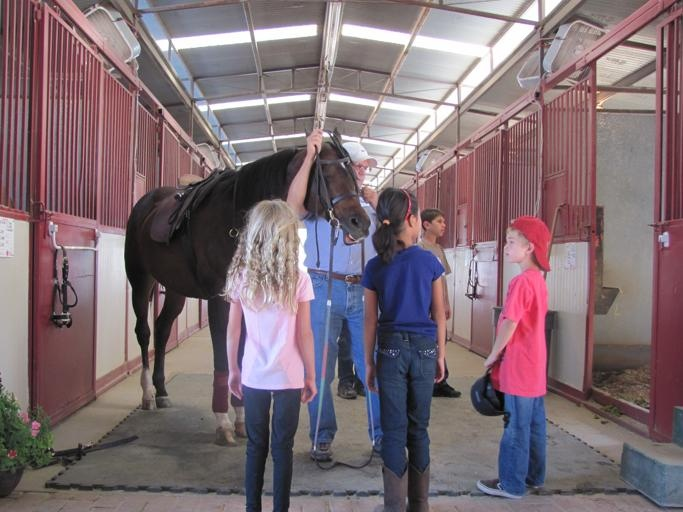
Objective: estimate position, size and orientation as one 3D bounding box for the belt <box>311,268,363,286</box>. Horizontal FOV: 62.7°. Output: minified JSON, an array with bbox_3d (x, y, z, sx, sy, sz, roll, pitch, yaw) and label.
[{"bbox_3d":[-0.016,0.127,3.603,0.310,0.095,0.360,1,-2,-20],"label":"belt"}]

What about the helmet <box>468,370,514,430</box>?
[{"bbox_3d":[0.945,0.871,3.491,0.285,0.308,0.274,8,-21,-19],"label":"helmet"}]

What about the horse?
[{"bbox_3d":[-0.886,0.295,4.041,2.536,1.934,0.644,-1,-1,41],"label":"horse"}]

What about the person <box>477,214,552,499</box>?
[{"bbox_3d":[1.069,0.592,3.415,0.466,1.680,0.244,1,-2,-24],"label":"person"}]

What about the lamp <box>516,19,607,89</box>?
[{"bbox_3d":[2.185,-2.013,5.619,0.802,0.668,0.594,0,-2,21],"label":"lamp"}]

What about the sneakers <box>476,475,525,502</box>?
[{"bbox_3d":[0.951,1.364,3.352,0.255,0.112,0.110,10,-12,17],"label":"sneakers"}]

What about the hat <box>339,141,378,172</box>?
[{"bbox_3d":[0.111,-0.693,3.789,0.209,0.119,0.151,29,15,24],"label":"hat"}]
